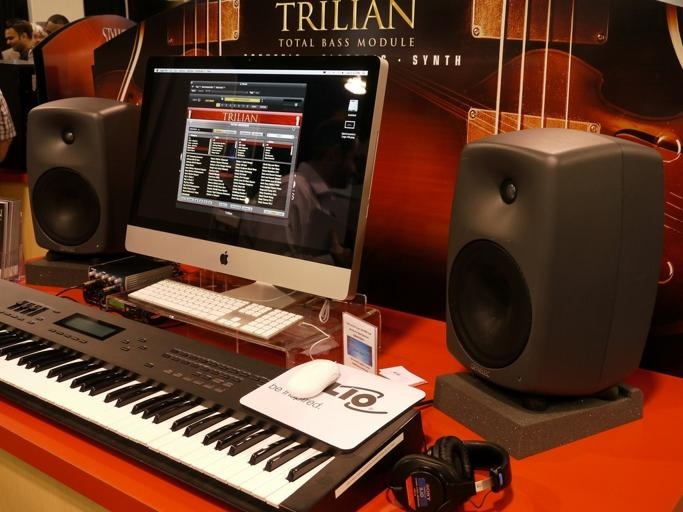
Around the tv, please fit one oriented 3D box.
[{"bbox_3d":[-0.197,-0.170,1.211,0.582,0.403,0.179,14,24,31],"label":"tv"}]

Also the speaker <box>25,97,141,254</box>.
[{"bbox_3d":[-0.731,-0.219,1.518,0.299,0.409,0.133,3,14,3],"label":"speaker"}]
